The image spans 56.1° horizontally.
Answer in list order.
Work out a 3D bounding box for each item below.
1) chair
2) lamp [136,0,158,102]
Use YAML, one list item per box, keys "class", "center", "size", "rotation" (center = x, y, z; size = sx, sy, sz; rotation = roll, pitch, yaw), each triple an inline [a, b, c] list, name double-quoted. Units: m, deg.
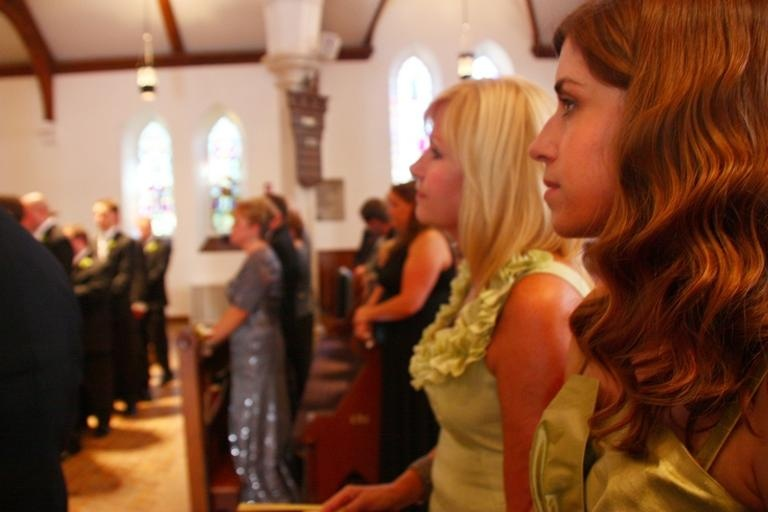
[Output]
- class: "chair"
  center: [-0.107, 0.512, 2.484]
  size: [0.409, 0.719, 0.354]
  rotation: [0, -1, -3]
- class: "lamp"
  center: [-0.682, -0.586, 2.053]
  size: [0.052, 0.244, 0.056]
  rotation: [-4, 2, -28]
